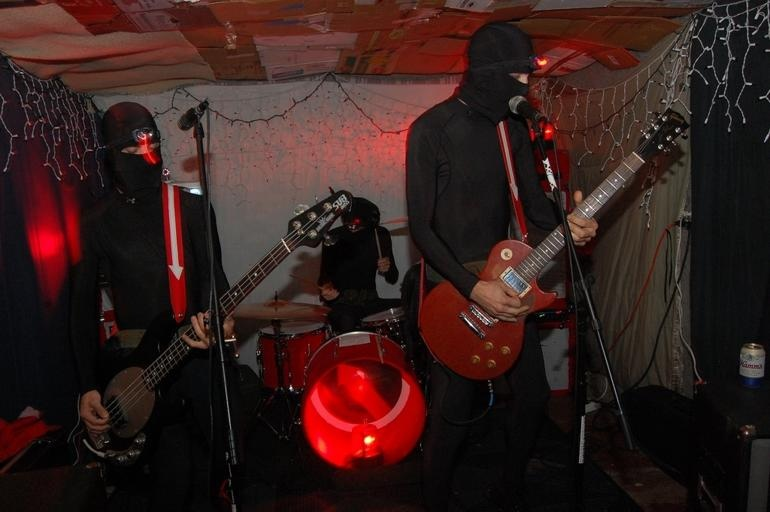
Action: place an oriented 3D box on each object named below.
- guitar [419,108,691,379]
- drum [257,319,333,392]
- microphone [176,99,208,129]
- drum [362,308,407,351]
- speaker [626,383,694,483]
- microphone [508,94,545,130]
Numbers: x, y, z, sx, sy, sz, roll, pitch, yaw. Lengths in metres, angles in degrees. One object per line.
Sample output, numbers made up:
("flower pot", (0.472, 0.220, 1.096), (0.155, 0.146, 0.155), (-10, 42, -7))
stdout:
("guitar", (1.155, -0.058, 3.506), (2.526, 0.817, 0.260), (-45, 7, 8))
("drum", (-0.742, 0.782, 4.511), (0.549, 0.414, 0.556), (-1, 3, 0))
("microphone", (-1.031, -0.761, 2.914), (0.153, 0.138, 0.246), (-11, 24, -11))
("drum", (0.023, 0.572, 4.421), (0.297, 0.331, 0.324), (-13, 0, -20))
("speaker", (1.878, 1.221, 3.664), (0.315, 0.388, 0.569), (-11, 17, -5))
("microphone", (0.735, -0.752, 2.797), (0.123, 0.131, 0.309), (-7, 23, -2))
